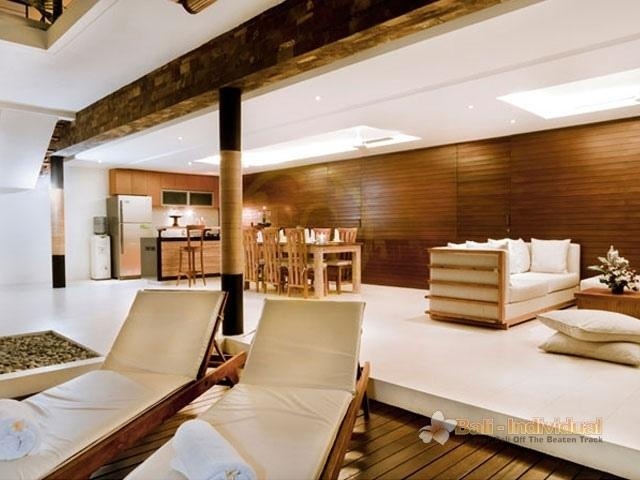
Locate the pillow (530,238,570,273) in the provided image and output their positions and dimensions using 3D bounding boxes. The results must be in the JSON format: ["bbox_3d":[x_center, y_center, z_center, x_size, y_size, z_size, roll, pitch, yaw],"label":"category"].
[{"bbox_3d":[3.554,0.245,6.730,0.535,0.494,0.193,-4,-26,42],"label":"pillow"}]

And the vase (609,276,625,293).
[{"bbox_3d":[3.511,0.524,5.174,0.193,0.157,0.188,2,1,23],"label":"vase"}]

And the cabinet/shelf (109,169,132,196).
[{"bbox_3d":[-5.121,-1.482,11.031,0.622,0.647,0.306,-2,3,21],"label":"cabinet/shelf"}]

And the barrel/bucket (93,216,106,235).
[{"bbox_3d":[-5.571,-0.400,11.082,0.111,0.451,0.317,-1,3,37],"label":"barrel/bucket"}]

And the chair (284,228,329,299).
[{"bbox_3d":[-0.282,0.364,7.680,0.641,1.156,1.399,-3,2,-5],"label":"chair"}]

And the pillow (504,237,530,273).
[{"bbox_3d":[2.942,0.236,6.524,0.534,0.502,0.209,4,-17,-32],"label":"pillow"}]

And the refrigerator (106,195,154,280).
[{"bbox_3d":[-4.743,-0.124,10.973,1.062,2.104,0.805,-3,3,-20],"label":"refrigerator"}]

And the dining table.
[{"bbox_3d":[0.040,0.560,7.667,1.108,0.835,1.134,-6,-8,41],"label":"dining table"}]
